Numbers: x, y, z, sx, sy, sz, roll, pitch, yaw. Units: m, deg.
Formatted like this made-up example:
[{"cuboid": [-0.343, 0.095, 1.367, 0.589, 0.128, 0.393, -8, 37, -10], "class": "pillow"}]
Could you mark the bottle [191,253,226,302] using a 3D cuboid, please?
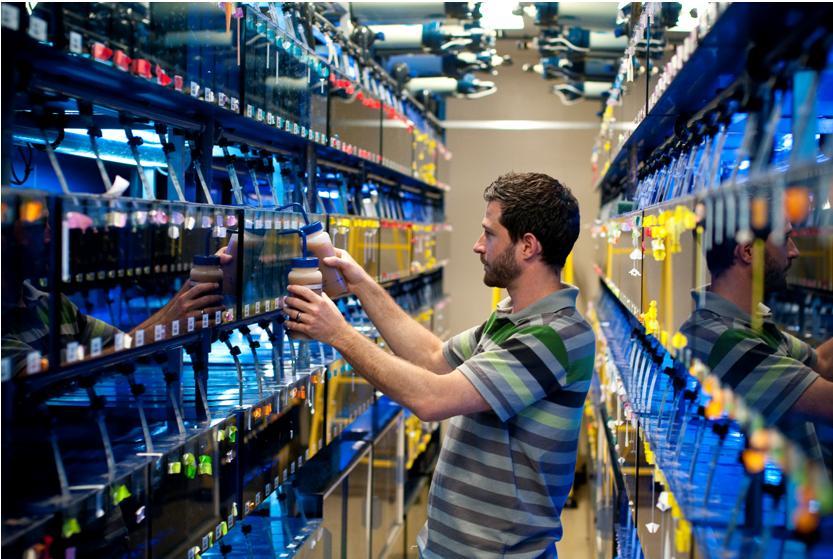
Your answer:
[{"cuboid": [-0.791, -0.034, 2.595, 0.098, 0.153, 0.101, 1, 4, 0], "class": "bottle"}]
